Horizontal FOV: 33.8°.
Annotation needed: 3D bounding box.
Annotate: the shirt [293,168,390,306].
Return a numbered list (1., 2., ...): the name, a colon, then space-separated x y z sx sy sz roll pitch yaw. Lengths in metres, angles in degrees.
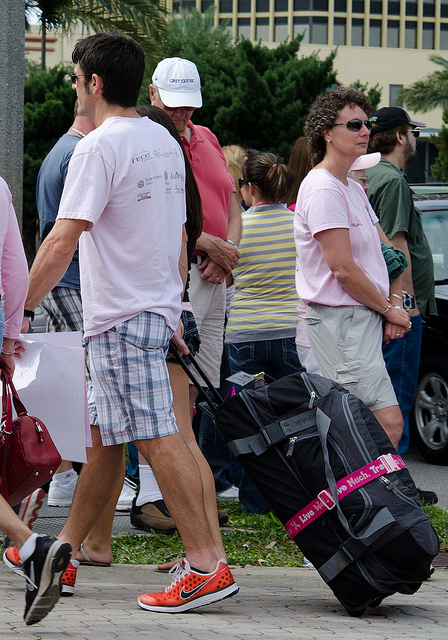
1. shirt: 0.546 -0.387 3.415 0.444 0.608 0.693 2 11 28

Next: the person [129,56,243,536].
1. person: -0.221 -0.174 4.160 0.769 2.390 0.703 -6 21 -9

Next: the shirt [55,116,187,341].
1. shirt: -0.336 -0.321 2.557 0.247 0.804 0.533 1 -10 42

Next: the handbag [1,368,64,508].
1. handbag: -0.639 0.431 2.393 0.139 0.351 0.177 3 -9 32

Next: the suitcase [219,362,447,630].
1. suitcase: 0.359 0.611 2.687 0.804 0.810 0.240 5 -9 21

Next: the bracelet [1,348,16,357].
1. bracelet: -0.780 0.119 2.643 0.034 0.008 0.029 5 32 -10

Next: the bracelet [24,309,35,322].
1. bracelet: -0.734 -0.017 2.758 0.039 0.046 0.028 1 1 -16

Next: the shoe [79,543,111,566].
1. shoe: -0.505 0.974 3.041 0.227 0.071 0.073 10 -10 -21

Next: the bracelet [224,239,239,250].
1. bracelet: 0.044 -0.417 4.059 0.069 0.060 0.040 28 42 -3

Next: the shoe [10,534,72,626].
1. shoe: -0.502 0.749 2.088 0.151 0.249 0.110 7 0 14

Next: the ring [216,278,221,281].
1. ring: -0.032 -0.207 3.805 0.004 0.010 0.023 2 -9 39

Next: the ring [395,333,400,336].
1. ring: 0.806 0.070 3.407 0.009 0.011 0.013 -7 -18 32

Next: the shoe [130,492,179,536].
1. shoe: -0.342 1.036 3.899 0.430 0.173 0.149 -3 -5 44

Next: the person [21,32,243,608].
1. person: -0.330 -0.026 2.769 0.861 2.035 0.726 13 -9 -27

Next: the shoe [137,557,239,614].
1. shoe: -0.114 0.912 2.557 0.415 0.177 0.137 -10 -13 -2
